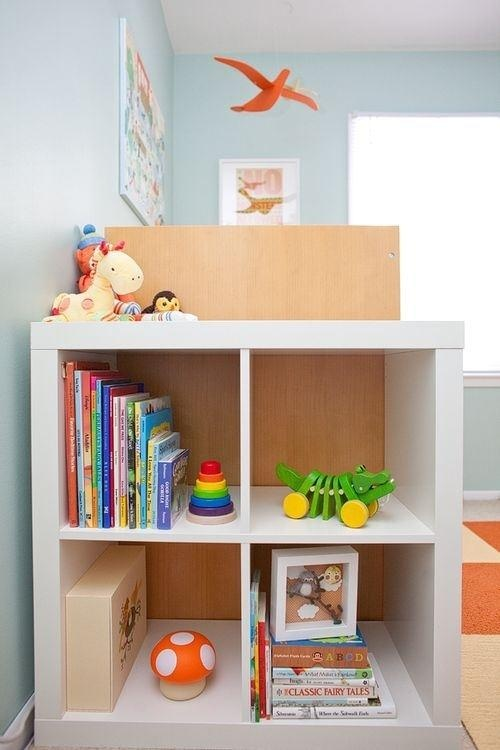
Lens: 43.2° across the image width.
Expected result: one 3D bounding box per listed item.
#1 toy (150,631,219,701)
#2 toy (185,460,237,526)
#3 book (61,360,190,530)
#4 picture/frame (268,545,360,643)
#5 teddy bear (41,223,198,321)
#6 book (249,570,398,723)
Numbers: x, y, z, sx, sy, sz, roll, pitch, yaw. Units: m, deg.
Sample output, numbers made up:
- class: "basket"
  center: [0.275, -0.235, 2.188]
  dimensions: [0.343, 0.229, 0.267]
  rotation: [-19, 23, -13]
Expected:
- class: "toy"
  center: [-0.124, 0.538, 1.226]
  dimensions: [0.098, 0.093, 0.111]
  rotation: [0, 10, 5]
- class: "toy"
  center: [-0.073, 0.236, 1.256]
  dimensions: [0.091, 0.117, 0.098]
  rotation: [-2, -3, 12]
- class: "book"
  center: [-0.248, 0.143, 1.321]
  dimensions: [0.226, 0.367, 0.311]
  rotation: [0, 0, 3]
- class: "picture/frame"
  center: [0.123, 0.426, 1.218]
  dimensions: [0.144, 0.169, 0.051]
  rotation: [0, -2, -6]
- class: "teddy bear"
  center: [-0.214, -0.213, 1.300]
  dimensions: [0.340, 0.229, 0.145]
  rotation: [-1, 13, 15]
- class: "book"
  center: [0.122, 0.499, 1.184]
  dimensions: [0.227, 0.096, 0.231]
  rotation: [0, 0, -1]
